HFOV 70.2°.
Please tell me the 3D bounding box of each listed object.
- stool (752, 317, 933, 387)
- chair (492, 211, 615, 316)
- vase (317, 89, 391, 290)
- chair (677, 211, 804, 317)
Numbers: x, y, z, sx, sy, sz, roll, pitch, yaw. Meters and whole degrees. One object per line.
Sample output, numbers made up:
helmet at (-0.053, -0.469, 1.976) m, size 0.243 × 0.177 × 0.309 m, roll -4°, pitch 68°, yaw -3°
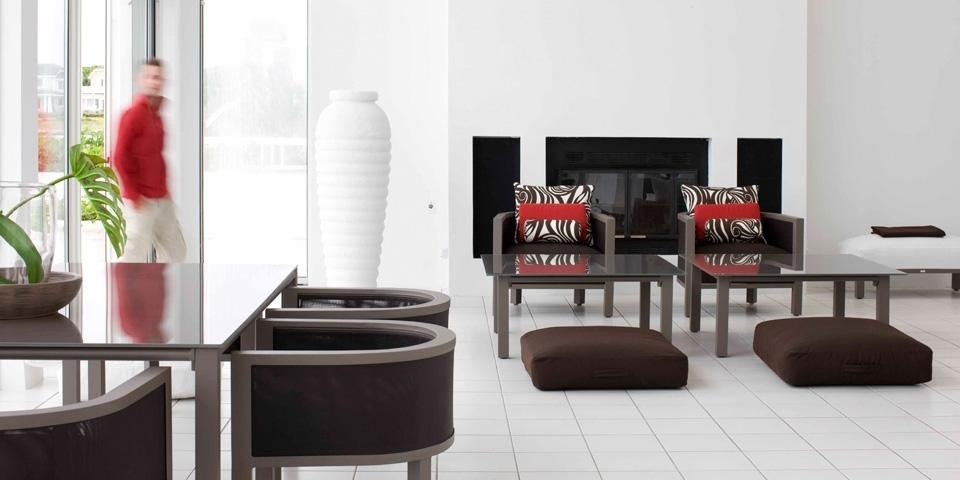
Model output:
stool at (3.062, 0.942, 5.789) m, size 1.255 × 0.483 × 0.482 m, roll -1°, pitch 8°, yaw 1°
chair at (0.796, 0.185, 7.305) m, size 1.273 × 0.872 × 1.092 m, roll 1°, pitch 12°, yaw 4°
vase at (-1.227, -0.486, 6.708) m, size 0.721 × 1.945 × 0.461 m, roll -3°, pitch 9°, yaw -11°
chair at (2.720, 0.280, 7.325) m, size 1.416 × 1.019 × 1.326 m, roll -1°, pitch -2°, yaw 2°
